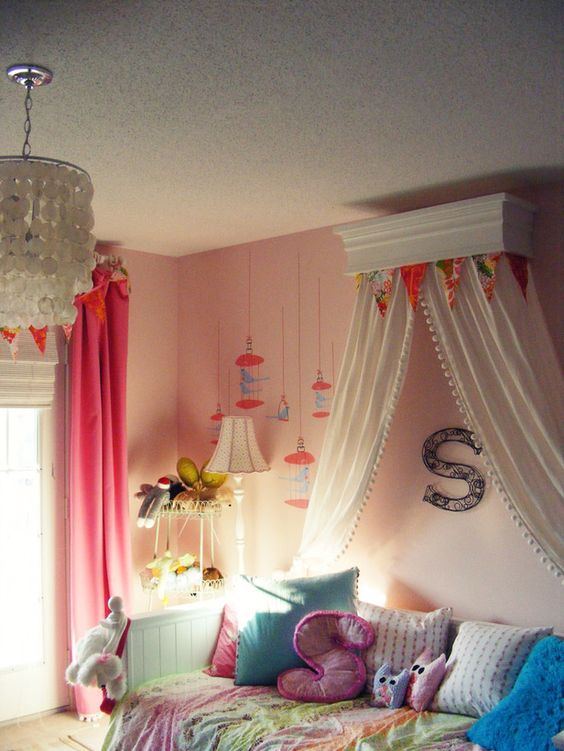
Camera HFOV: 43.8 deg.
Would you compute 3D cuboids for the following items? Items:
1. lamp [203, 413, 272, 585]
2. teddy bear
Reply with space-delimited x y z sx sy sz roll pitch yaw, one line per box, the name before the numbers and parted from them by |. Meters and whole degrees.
lamp | -0.239 0.705 3.933 0.326 1.008 0.595 -1 6 -2
teddy bear | -0.748 1.138 2.964 0.294 0.367 0.222 8 -11 -24
